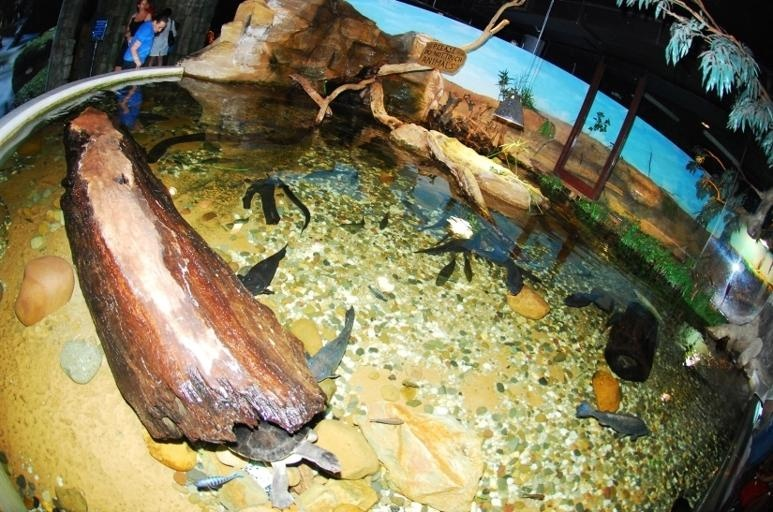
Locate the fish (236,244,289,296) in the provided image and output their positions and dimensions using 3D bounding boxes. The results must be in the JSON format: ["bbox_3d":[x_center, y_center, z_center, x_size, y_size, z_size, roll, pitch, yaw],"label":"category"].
[{"bbox_3d":[-1.187,0.154,4.290,0.212,0.191,0.503,27,43,-2],"label":"fish"}]

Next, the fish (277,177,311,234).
[{"bbox_3d":[-1.034,-0.536,4.925,0.292,0.083,0.748,-33,53,-20],"label":"fish"}]

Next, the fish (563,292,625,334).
[{"bbox_3d":[2.318,0.553,4.924,0.542,0.119,0.527,42,48,21],"label":"fish"}]

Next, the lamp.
[{"bbox_3d":[2.009,-2.552,6.065,0.456,1.512,1.107,25,44,5],"label":"lamp"}]

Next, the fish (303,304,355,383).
[{"bbox_3d":[-0.482,0.810,4.031,0.219,0.268,0.647,36,64,-17],"label":"fish"}]

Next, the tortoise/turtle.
[{"bbox_3d":[-0.806,1.580,3.470,0.530,0.370,0.766,-29,62,-38],"label":"tortoise/turtle"}]
